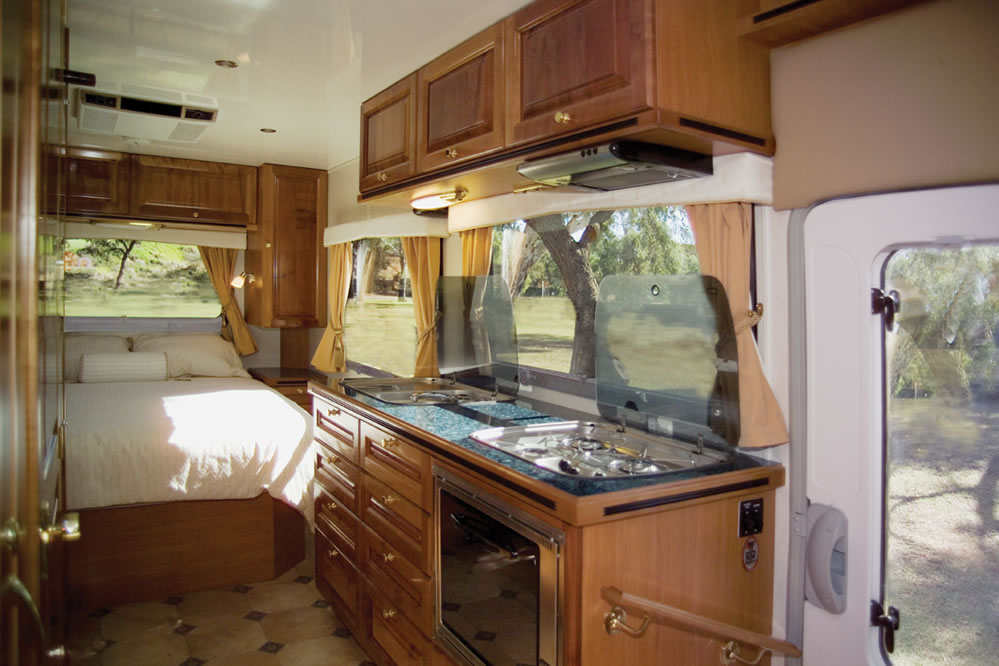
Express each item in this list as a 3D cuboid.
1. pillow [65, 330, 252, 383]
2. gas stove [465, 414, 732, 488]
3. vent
[{"bbox_3d":[-2.678,0.151,5.342,1.064,0.437,0.829,-1,2,-29],"label":"pillow"},{"bbox_3d":[0.337,0.432,2.431,0.623,0.082,0.877,-1,1,-19],"label":"gas stove"},{"bbox_3d":[0.400,-0.610,2.488,0.448,0.117,0.626,-3,7,-33],"label":"vent"}]
